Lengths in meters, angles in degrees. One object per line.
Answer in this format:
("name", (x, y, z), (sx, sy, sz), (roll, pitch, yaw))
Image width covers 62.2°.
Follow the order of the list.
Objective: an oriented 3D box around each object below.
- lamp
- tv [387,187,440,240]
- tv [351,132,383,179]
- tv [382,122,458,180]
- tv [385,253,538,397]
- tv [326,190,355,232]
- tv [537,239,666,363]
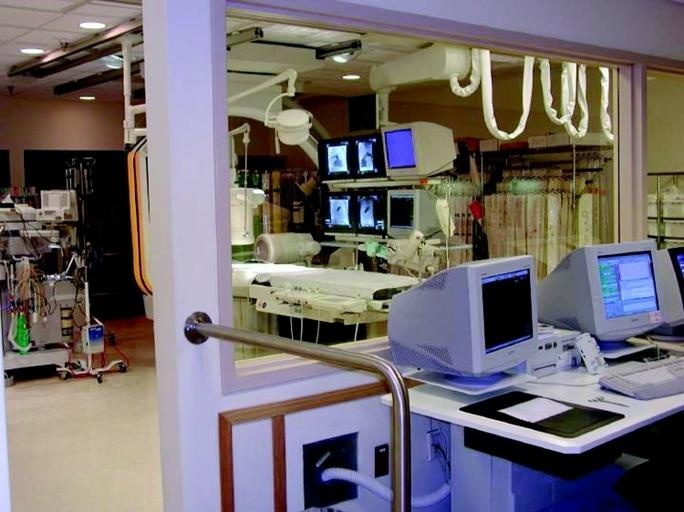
("lamp", (-0.310, -0.695, 2.762), (0.478, 0.314, 0.177), (-10, 23, -32))
("tv", (0.456, -0.274, 3.710), (0.367, 0.305, 0.376), (-1, 5, -19))
("tv", (0.167, -0.597, 3.418), (0.099, 0.260, 0.328), (1, 10, 33))
("tv", (0.549, -0.712, 3.878), (0.503, 0.320, 0.496), (3, 11, 42))
("tv", (0.587, 0.290, 2.744), (0.683, 0.526, 0.719), (-4, 3, -12))
("tv", (-0.008, -0.252, 3.231), (0.193, 0.204, 0.015), (4, 7, 34))
("tv", (1.502, 0.234, 3.316), (0.738, 0.589, 0.772), (-4, 2, 20))
